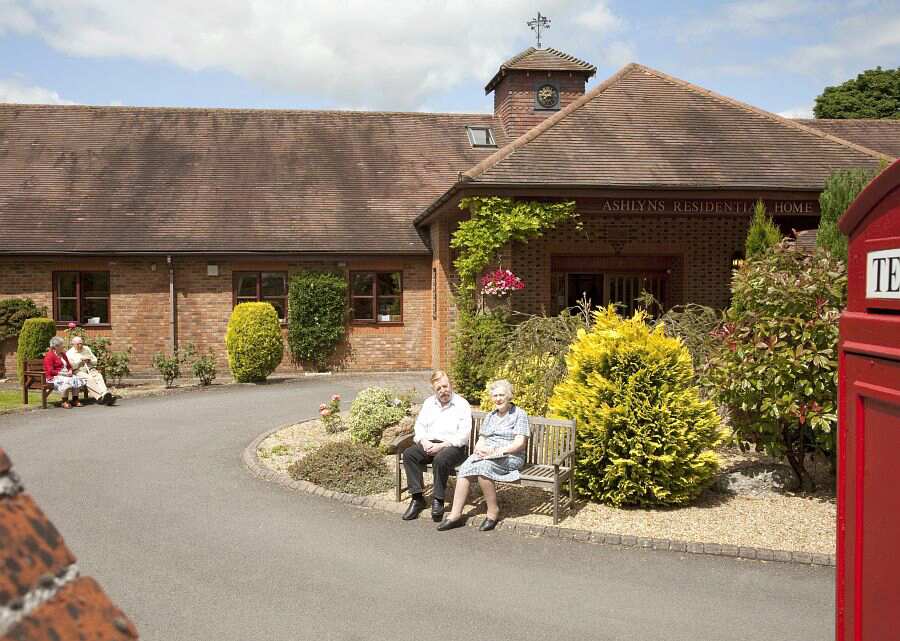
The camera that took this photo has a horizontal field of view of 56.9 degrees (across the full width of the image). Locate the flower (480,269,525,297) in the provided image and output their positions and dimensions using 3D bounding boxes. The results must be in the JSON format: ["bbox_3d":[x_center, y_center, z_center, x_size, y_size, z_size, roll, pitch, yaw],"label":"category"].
[{"bbox_3d":[1.003,-0.712,16.651,0.601,0.405,0.636,0,2,-5],"label":"flower"}]

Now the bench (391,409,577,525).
[{"bbox_3d":[0.423,1.758,10.180,2.173,1.153,0.716,1,0,30],"label":"bench"}]

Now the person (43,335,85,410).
[{"bbox_3d":[-7.816,1.073,16.856,0.841,1.385,0.643,6,10,42],"label":"person"}]

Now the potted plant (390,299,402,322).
[{"bbox_3d":[-1.477,-0.247,23.192,0.506,0.694,0.491,1,-5,-2],"label":"potted plant"}]

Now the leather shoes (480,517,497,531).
[{"bbox_3d":[0.431,2.304,9.317,0.152,0.106,0.277,3,9,23],"label":"leather shoes"}]

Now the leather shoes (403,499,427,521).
[{"bbox_3d":[-0.429,2.210,9.701,0.199,0.204,0.329,2,8,19],"label":"leather shoes"}]

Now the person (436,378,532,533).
[{"bbox_3d":[0.449,1.533,9.701,0.776,1.524,1.266,3,8,22],"label":"person"}]

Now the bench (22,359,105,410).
[{"bbox_3d":[-8.430,1.328,17.727,0.516,0.879,1.282,-1,-2,10],"label":"bench"}]
